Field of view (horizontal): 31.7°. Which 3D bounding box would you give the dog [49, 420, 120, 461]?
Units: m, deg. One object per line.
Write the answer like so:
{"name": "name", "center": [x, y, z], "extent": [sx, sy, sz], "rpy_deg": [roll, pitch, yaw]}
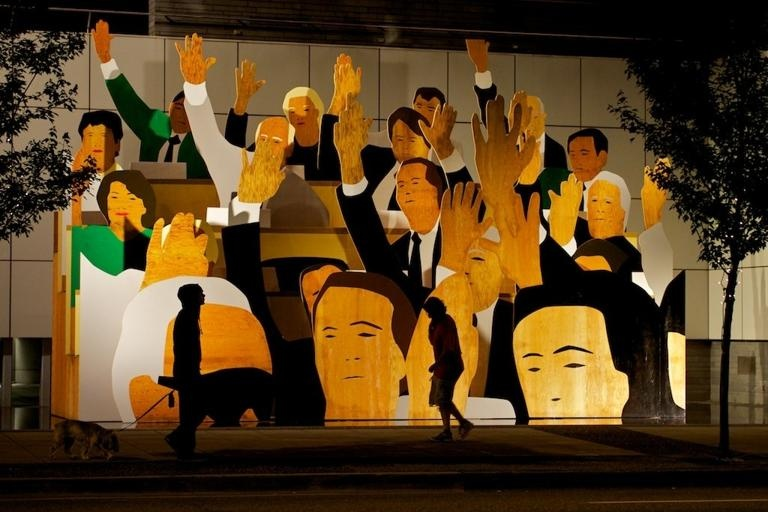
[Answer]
{"name": "dog", "center": [-6.508, 3.983, 29.556], "extent": [1.448, 0.837, 1.150], "rpy_deg": [1, -2, -11]}
